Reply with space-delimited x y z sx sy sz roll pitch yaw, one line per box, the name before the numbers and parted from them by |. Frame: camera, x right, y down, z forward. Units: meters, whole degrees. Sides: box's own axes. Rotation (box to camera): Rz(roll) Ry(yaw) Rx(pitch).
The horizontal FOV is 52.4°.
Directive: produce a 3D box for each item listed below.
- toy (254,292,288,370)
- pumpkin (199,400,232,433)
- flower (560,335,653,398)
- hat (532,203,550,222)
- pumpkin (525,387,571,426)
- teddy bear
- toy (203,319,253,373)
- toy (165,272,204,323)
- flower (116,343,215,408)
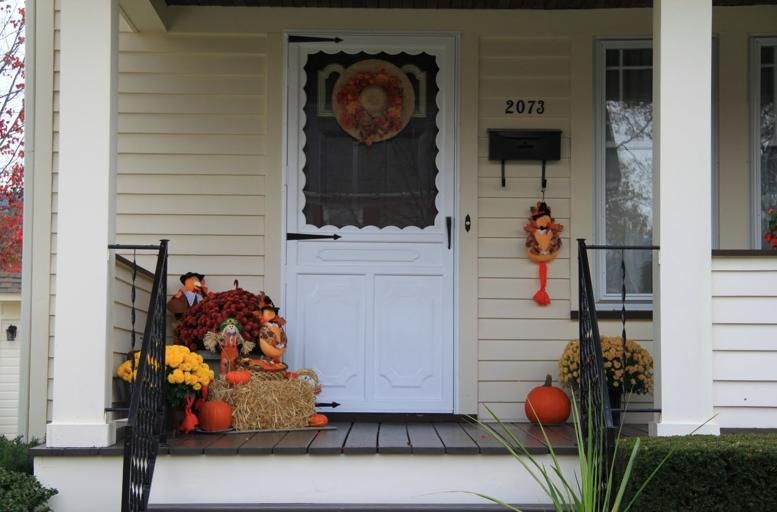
toy | -0.940 0.575 6.393 0.216 0.568 0.443 -1 -5 1
pumpkin | -1.262 1.164 5.772 0.209 0.204 0.214 9 -11 -38
flower | 1.719 0.868 6.322 0.541 0.452 0.623 4 -6 -44
hat | 1.289 -0.385 6.701 0.168 0.150 0.087 -1 -5 8
pumpkin | 1.266 1.184 6.392 0.371 0.346 0.378 4 -3 6
teddy bear | 1.311 -0.022 6.687 0.318 0.891 0.125 -1 -5 9
toy | -1.244 0.677 6.115 0.409 0.484 0.164 1 -2 -13
toy | -1.663 0.348 6.447 0.374 0.483 0.246 6 -12 -40
flower | -1.619 0.847 5.750 0.490 0.343 0.502 2 6 15
